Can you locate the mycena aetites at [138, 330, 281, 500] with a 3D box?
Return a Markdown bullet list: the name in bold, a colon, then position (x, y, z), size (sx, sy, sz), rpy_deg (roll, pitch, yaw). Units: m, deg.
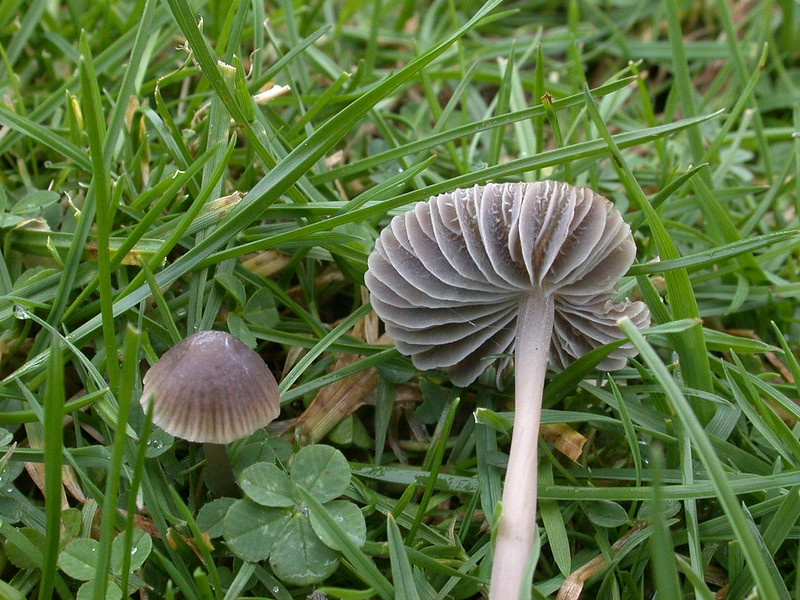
- **mycena aetites**: position (-0.500, 0.234, 2.194), size (0.312, 0.445, 0.348), rpy_deg (-17, 46, -18)
